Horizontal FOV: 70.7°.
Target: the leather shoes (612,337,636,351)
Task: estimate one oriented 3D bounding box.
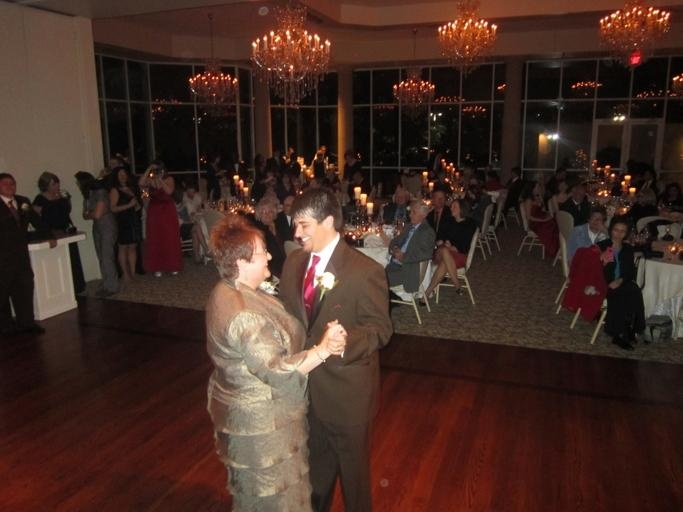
[{"bbox_3d":[3.326,1.018,5.698,0.122,0.151,0.221,-34,15,-32],"label":"leather shoes"}]

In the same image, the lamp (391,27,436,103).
[{"bbox_3d":[2.430,-6.082,16.068,1.444,2.219,3.105,-1,14,8],"label":"lamp"}]

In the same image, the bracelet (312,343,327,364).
[{"bbox_3d":[-0.106,0.488,2.377,0.022,0.093,0.073,-21,22,-34],"label":"bracelet"}]

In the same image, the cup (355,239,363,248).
[{"bbox_3d":[0.242,-0.181,6.630,0.112,0.118,0.087,-1,-7,3],"label":"cup"}]

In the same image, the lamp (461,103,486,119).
[{"bbox_3d":[4.629,-5.127,16.843,0.790,0.455,0.195,-2,5,17],"label":"lamp"}]

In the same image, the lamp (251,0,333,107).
[{"bbox_3d":[-1.301,-4.877,12.031,1.570,2.353,5.603,-4,14,-6],"label":"lamp"}]

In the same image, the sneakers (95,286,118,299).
[{"bbox_3d":[-3.670,0.572,7.522,0.187,0.080,0.196,2,8,-1],"label":"sneakers"}]

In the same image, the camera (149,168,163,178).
[{"bbox_3d":[-3.113,-1.401,8.043,0.182,0.143,0.136,-34,-6,37],"label":"camera"}]

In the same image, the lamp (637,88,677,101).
[{"bbox_3d":[9.924,-5.134,15.227,1.750,0.282,0.124,5,13,20],"label":"lamp"}]

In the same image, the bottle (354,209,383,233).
[{"bbox_3d":[0.388,-0.526,7.198,0.403,0.331,0.347,2,6,24],"label":"bottle"}]

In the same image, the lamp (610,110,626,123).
[{"bbox_3d":[9.000,-4.518,15.650,0.440,0.316,0.083,-1,14,6],"label":"lamp"}]

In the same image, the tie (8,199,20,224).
[{"bbox_3d":[-4.054,-0.568,6.008,0.077,0.295,0.171,-6,14,-16],"label":"tie"}]
